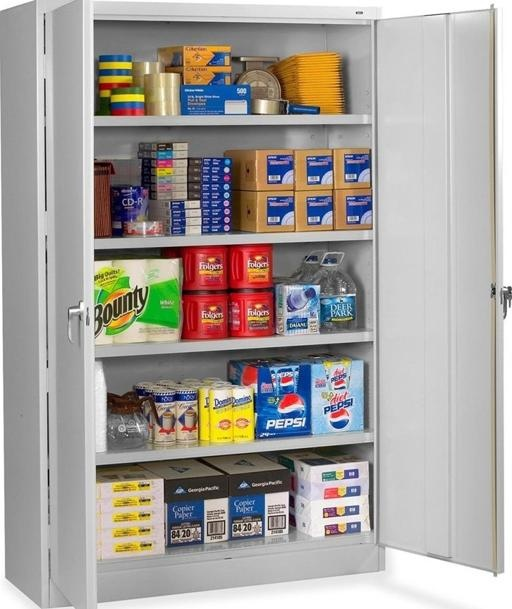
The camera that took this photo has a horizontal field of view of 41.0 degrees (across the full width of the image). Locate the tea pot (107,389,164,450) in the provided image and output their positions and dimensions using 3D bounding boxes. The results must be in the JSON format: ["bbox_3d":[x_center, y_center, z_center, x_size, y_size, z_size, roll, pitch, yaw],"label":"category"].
[{"bbox_3d":[-0.486,0.433,2.547,0.193,0.198,0.172,-9,10,-40],"label":"tea pot"}]
